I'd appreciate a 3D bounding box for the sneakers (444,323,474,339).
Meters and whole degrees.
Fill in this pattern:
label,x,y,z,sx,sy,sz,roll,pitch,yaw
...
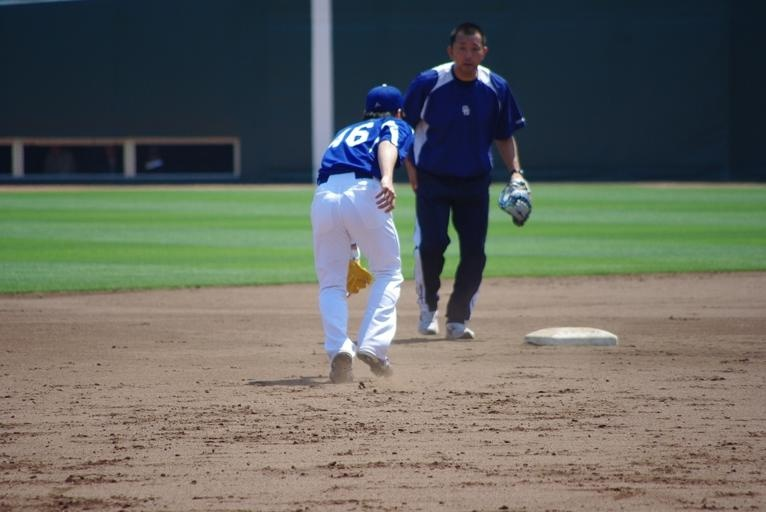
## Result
label,x,y,z,sx,sy,sz,roll,pitch,yaw
sneakers,1.272,1.269,27.759,0.457,0.168,0.231,0,-3,3

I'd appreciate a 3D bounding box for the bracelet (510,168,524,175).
label,x,y,z,sx,sy,sz,roll,pitch,yaw
bracelet,2.243,-1.430,27.796,0.186,0.065,0.178,1,8,18
